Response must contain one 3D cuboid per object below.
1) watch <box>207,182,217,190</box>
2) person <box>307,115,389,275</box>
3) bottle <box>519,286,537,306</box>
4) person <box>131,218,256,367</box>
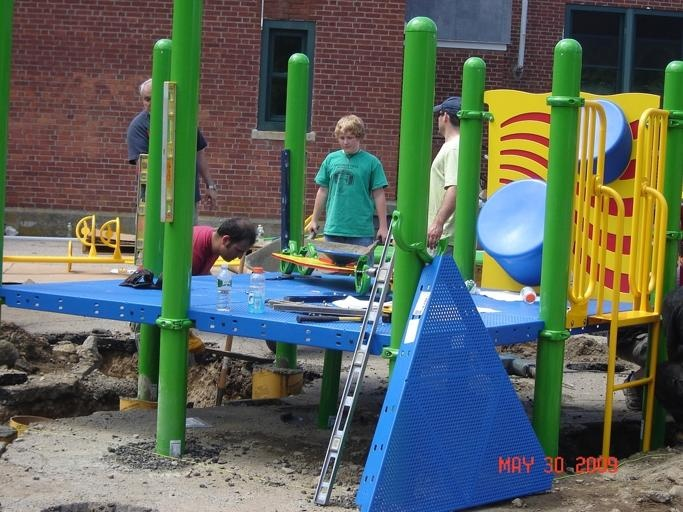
[{"bbox_3d":[-1.292,-0.669,11.487,0.088,0.024,0.097,-1,17,-12],"label":"watch"},{"bbox_3d":[0.083,-0.748,11.508,0.778,1.265,0.793,2,4,-1],"label":"person"},{"bbox_3d":[1.474,0.306,9.101,0.129,0.116,0.188,32,4,5],"label":"bottle"},{"bbox_3d":[-1.323,0.426,10.207,0.706,1.679,0.634,22,11,-2],"label":"person"}]
